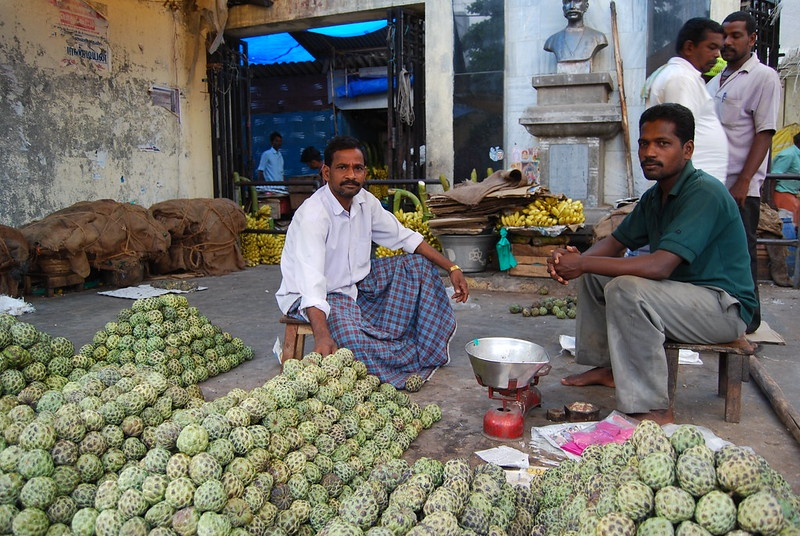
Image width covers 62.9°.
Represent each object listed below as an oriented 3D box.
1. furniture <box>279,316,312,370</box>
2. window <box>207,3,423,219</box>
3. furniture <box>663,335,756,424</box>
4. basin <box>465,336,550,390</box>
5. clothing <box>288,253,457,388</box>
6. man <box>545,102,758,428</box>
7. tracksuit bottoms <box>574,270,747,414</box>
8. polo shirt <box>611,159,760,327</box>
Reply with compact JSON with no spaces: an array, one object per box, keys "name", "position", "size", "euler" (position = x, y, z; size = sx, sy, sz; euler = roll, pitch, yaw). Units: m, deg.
[{"name":"furniture","position":[-0.734,0.574,4.946],"size":[0.336,0.368,0.331],"euler":[3,-2,-1]},{"name":"window","position":[-1.526,-2.853,11.362],"size":[4.228,4.193,2.248],"euler":[-1,-1,20]},{"name":"furniture","position":[2.022,0.691,4.441],"size":[0.577,0.457,0.591],"euler":[-2,5,14]},{"name":"basin","position":[0.697,0.636,4.325],"size":[0.542,0.238,0.548],"euler":[-3,11,1]},{"name":"clothing","position":[-0.209,0.328,5.186],"size":[1.067,0.587,1.228],"euler":[-17,22,-32]},{"name":"man","position":[1.751,-0.058,4.605],"size":[1.356,2.055,1.378],"euler":[2,8,31]},{"name":"tracksuit bottoms","position":[1.859,0.339,4.582],"size":[1.077,0.846,1.075],"euler":[-1,17,12]},{"name":"polo shirt","position":[2.009,-0.133,4.598],"size":[0.856,1.194,0.899],"euler":[-9,14,-8]}]
